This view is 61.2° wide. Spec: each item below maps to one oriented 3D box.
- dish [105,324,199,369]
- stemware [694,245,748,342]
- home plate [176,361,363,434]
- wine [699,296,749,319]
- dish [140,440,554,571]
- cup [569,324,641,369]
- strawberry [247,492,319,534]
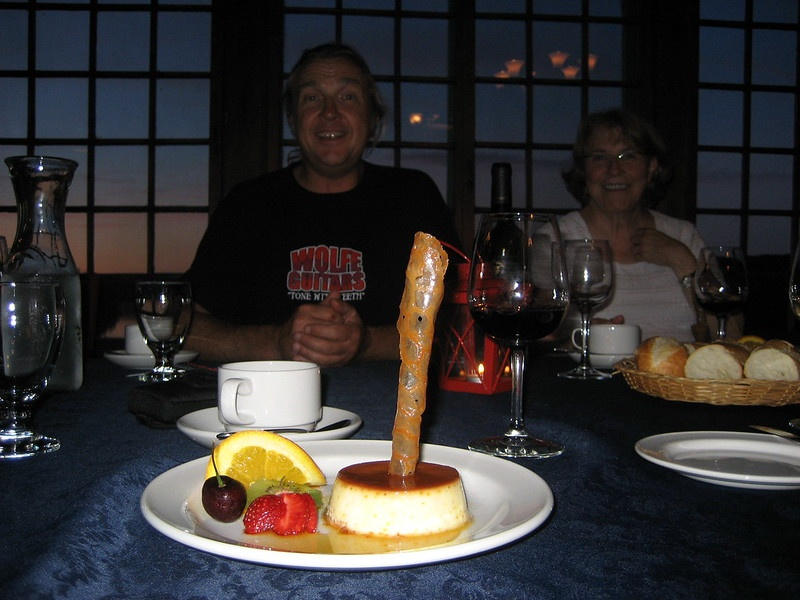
[{"bbox_3d":[-0.626,0.128,1.655,0.142,0.063,0.142,1,-1,10],"label":"dish"},{"bbox_3d":[0.854,-0.050,1.807,0.121,0.182,0.128,5,8,32],"label":"stemware"},{"bbox_3d":[-0.216,0.155,1.030,0.138,0.098,0.219,-3,0,25],"label":"home plate"},{"bbox_3d":[0.929,0.021,1.957,0.086,0.064,0.086,5,1,1],"label":"wine"},{"bbox_3d":[-0.060,0.237,0.765,0.431,0.071,0.284,-2,7,-22],"label":"dish"},{"bbox_3d":[0.521,0.108,1.745,0.161,0.106,0.118,-2,1,-4],"label":"cup"},{"bbox_3d":[-0.132,0.241,0.753,0.083,0.053,0.020,-8,-35,-4],"label":"strawberry"}]
